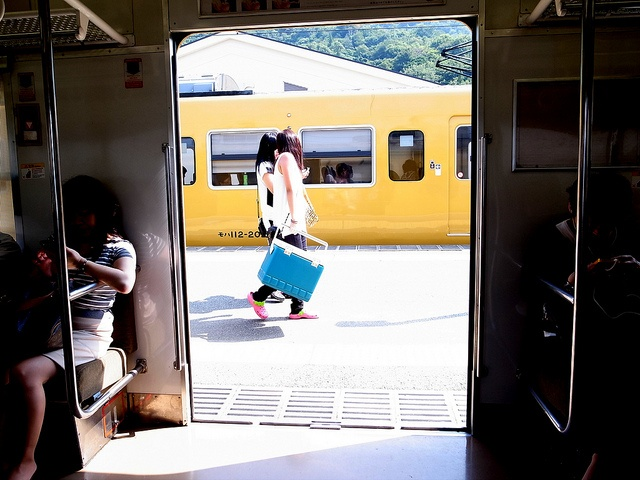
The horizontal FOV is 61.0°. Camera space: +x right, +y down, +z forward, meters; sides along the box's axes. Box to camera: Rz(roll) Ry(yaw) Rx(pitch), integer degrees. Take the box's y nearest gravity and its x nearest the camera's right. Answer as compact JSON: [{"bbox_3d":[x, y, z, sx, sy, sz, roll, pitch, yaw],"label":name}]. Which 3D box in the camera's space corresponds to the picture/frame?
[{"bbox_3d":[1.694,-0.778,3.595,0.677,0.464,0.027,-1,5,4],"label":"picture/frame"}]

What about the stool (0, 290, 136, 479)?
[{"bbox_3d":[-1.578,1.000,3.509,1.020,0.811,0.377,-20,0,10],"label":"stool"}]

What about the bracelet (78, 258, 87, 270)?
[{"bbox_3d":[-1.538,0.154,3.549,0.061,0.068,0.064,0,-11,8],"label":"bracelet"}]

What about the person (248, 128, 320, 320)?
[{"bbox_3d":[-0.373,-0.061,5.659,0.696,2.142,0.888,-2,10,-8],"label":"person"}]

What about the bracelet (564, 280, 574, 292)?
[{"bbox_3d":[1.581,0.301,3.463,0.048,0.013,0.053,-8,30,14],"label":"bracelet"}]

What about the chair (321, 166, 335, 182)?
[{"bbox_3d":[0.127,-1.106,9.038,0.245,0.309,0.216,-6,20,-27],"label":"chair"}]
